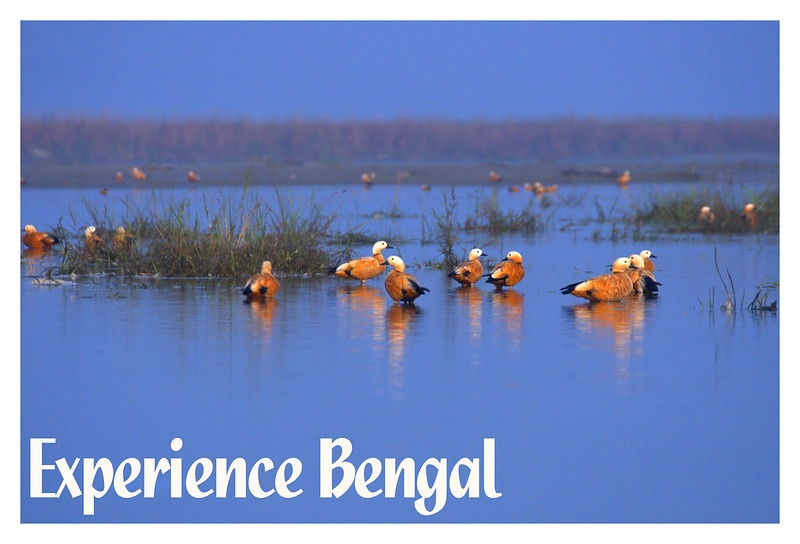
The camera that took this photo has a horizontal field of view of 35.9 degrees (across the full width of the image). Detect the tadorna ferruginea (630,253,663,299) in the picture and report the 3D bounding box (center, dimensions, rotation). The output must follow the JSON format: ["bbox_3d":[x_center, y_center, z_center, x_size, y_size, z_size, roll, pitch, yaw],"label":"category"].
[{"bbox_3d":[4.145,-0.006,20.660,0.452,0.745,0.731,-6,6,-30],"label":"tadorna ferruginea"}]

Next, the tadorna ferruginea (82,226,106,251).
[{"bbox_3d":[-5.513,-0.646,22.198,0.362,0.470,0.222,-11,-18,-10],"label":"tadorna ferruginea"}]

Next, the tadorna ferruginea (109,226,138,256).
[{"bbox_3d":[-4.935,-0.589,22.139,0.551,0.641,0.461,5,-12,-7],"label":"tadorna ferruginea"}]

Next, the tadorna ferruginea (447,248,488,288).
[{"bbox_3d":[1.137,-0.096,21.346,0.764,0.680,0.405,-3,-3,-29],"label":"tadorna ferruginea"}]

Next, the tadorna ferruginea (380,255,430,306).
[{"bbox_3d":[0.087,0.082,19.924,0.604,0.787,0.490,-1,-2,0],"label":"tadorna ferruginea"}]

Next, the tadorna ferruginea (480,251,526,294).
[{"bbox_3d":[1.779,-0.079,21.213,0.821,0.666,0.453,4,13,26],"label":"tadorna ferruginea"}]
